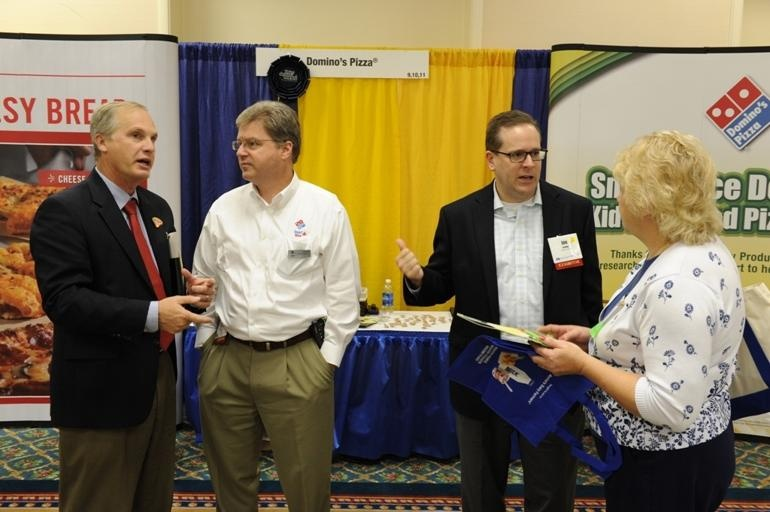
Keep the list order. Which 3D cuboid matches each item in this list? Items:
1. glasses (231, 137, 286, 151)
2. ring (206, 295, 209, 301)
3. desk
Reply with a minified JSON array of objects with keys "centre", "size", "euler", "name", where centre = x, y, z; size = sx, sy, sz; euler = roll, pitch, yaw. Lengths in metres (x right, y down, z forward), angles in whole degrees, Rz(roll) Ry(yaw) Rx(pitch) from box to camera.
[{"centre":[-0.730,-0.622,3.478],"size":[0.313,0.070,0.095],"euler":[0,4,17],"name":"glasses"},{"centre":[-0.975,0.230,3.389],"size":[0.026,0.027,0.008],"euler":[4,-21,-21],"name":"ring"},{"centre":[-0.308,0.991,4.806],"size":[1.633,0.521,1.035],"euler":[0,6,0],"name":"desk"}]
